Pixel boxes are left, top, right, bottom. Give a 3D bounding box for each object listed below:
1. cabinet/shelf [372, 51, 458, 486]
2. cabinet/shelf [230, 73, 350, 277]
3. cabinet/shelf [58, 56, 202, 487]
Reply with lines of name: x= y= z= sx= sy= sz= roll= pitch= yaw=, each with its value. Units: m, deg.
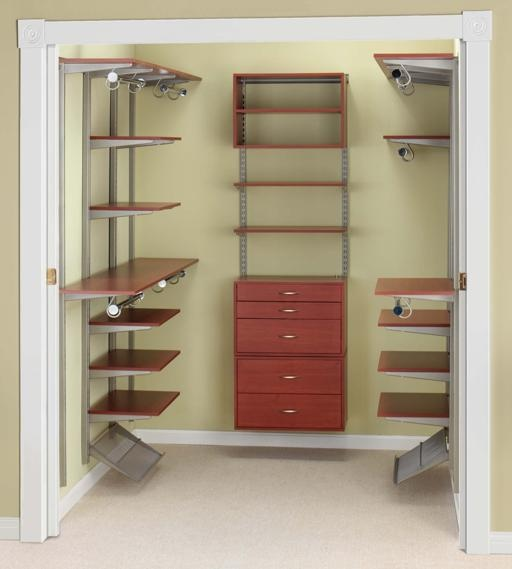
cabinet/shelf: x=0.828 y=-0.070 z=3.270 sx=0.430 sy=2.323 sz=1.383 roll=0 pitch=4 yaw=14
cabinet/shelf: x=0.222 y=-0.652 z=3.841 sx=0.832 sy=1.219 sz=0.363 roll=1 pitch=7 yaw=5
cabinet/shelf: x=-0.661 y=-0.084 z=3.374 sx=0.536 sy=2.365 sz=1.375 roll=-1 pitch=4 yaw=2
